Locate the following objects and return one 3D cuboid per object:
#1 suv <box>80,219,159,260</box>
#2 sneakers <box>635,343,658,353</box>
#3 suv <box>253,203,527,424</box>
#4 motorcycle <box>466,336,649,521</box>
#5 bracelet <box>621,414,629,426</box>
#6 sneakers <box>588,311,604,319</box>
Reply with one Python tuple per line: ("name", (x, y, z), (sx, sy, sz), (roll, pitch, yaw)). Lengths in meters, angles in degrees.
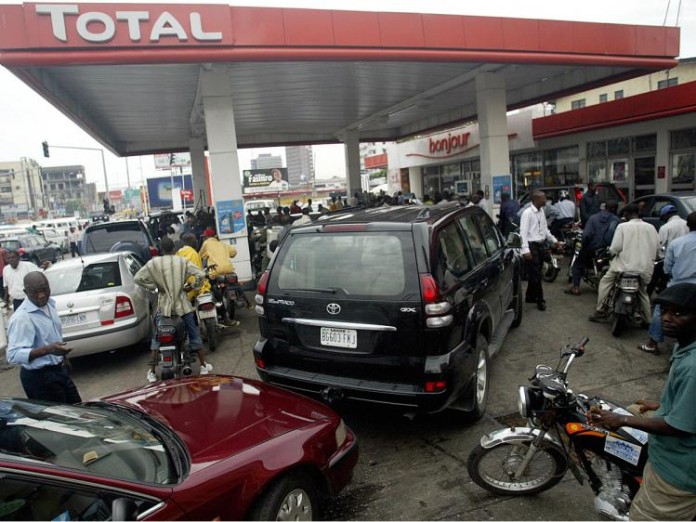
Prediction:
("suv", (-5.531, -0.365, 11.559), (1.111, 1.016, 1.904), (-4, 17, -8))
("sneakers", (4.067, 1.173, 6.441), (0.254, 0.111, 0.117), (12, 21, 39))
("suv", (0.905, 0.231, 6.333), (2.471, 1.887, 4.522), (1, 13, 27))
("motorcycle", (1.655, 1.394, 3.665), (1.554, 0.917, 0.820), (2, 40, 9))
("bracelet", (1.686, 0.964, 2.869), (0.026, 0.092, 0.052), (-2, -16, 0))
("sneakers", (3.997, 0.885, 7.673), (0.285, 0.125, 0.102), (-3, 10, 0))
